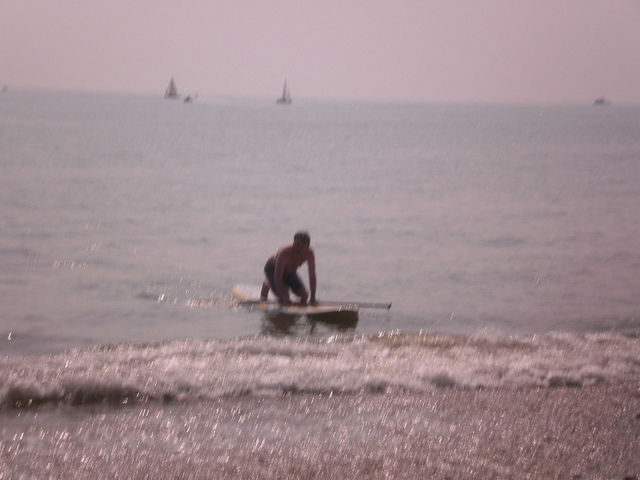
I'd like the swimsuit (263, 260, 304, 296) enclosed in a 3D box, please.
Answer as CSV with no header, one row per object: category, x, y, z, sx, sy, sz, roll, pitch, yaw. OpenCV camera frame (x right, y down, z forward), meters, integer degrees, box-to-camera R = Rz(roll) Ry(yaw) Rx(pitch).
swimsuit,-0.679,0.712,20.795,0.779,0.529,0.431,4,1,10
